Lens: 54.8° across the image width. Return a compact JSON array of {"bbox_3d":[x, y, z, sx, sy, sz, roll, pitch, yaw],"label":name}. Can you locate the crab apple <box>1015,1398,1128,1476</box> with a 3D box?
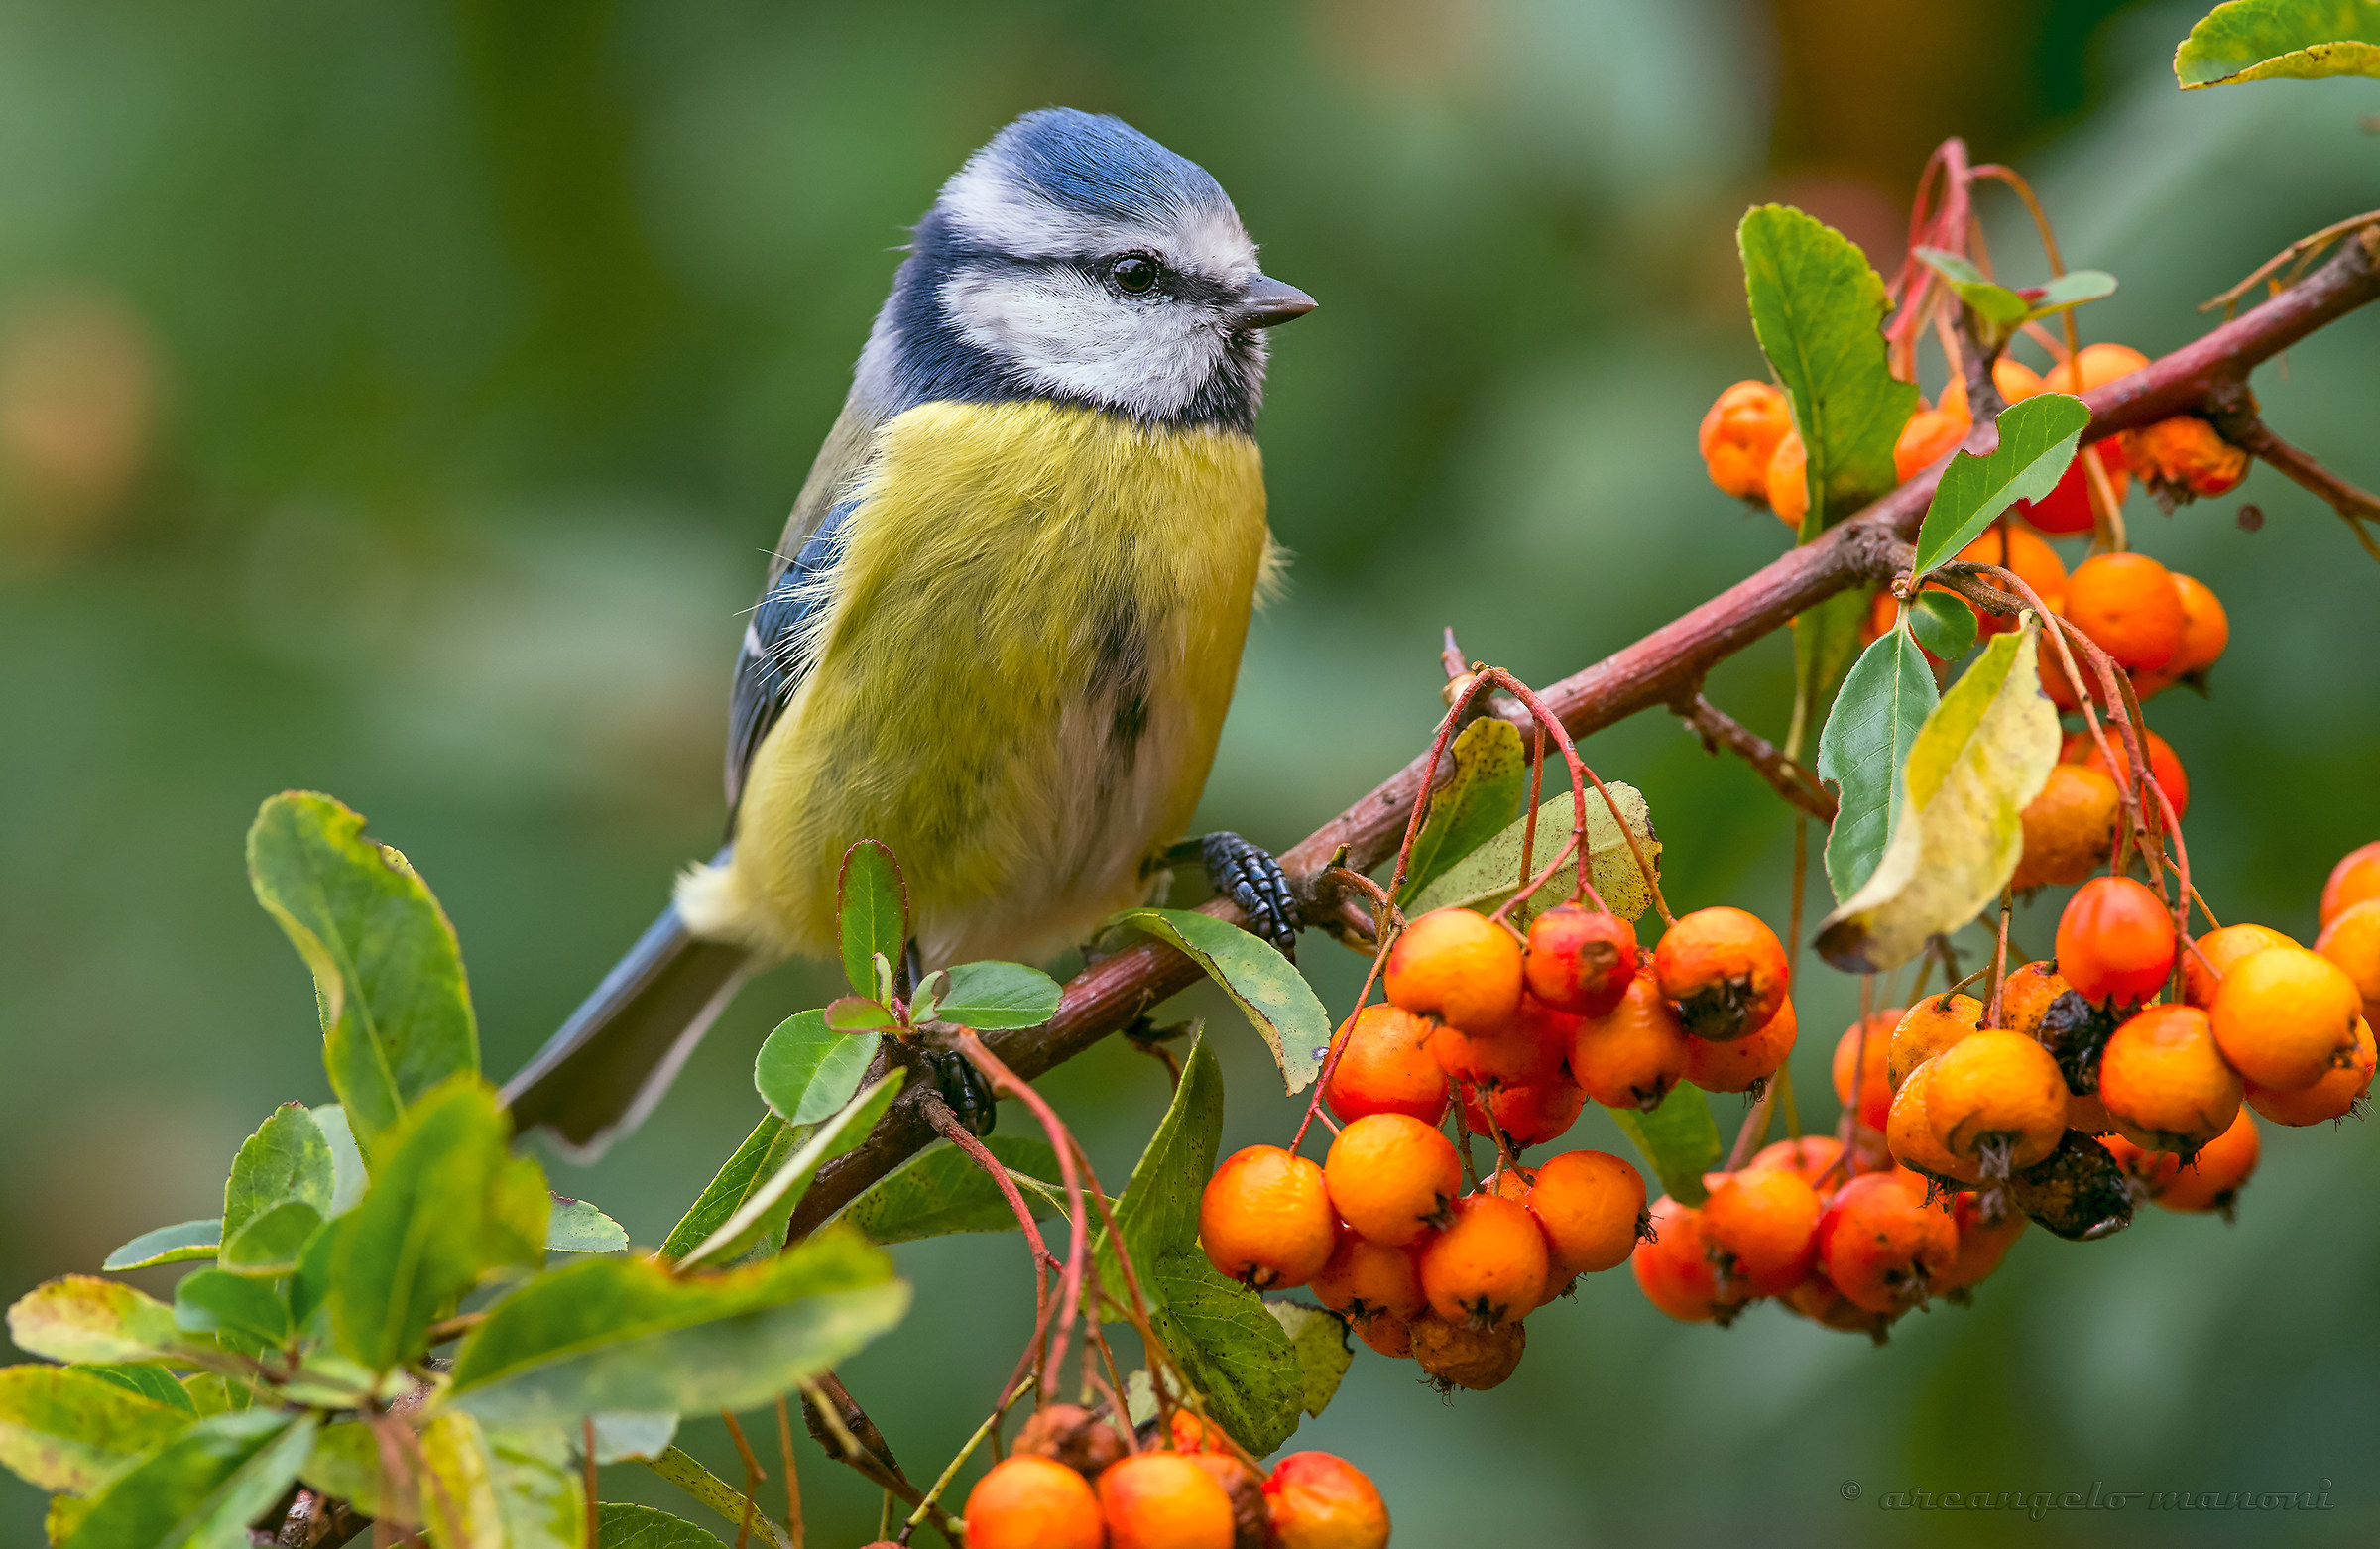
[{"bbox_3d":[-0.139,0.727,2.585,0.097,0.084,0.081,4,-80,2],"label":"crab apple"}]
